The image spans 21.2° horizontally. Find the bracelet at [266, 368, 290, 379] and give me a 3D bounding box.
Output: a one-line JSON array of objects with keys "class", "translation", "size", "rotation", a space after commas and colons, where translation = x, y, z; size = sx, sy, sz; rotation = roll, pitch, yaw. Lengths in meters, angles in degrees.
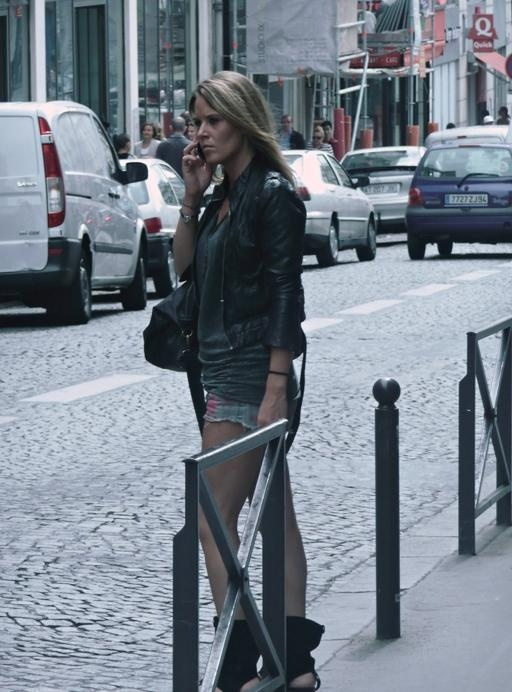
[{"class": "bracelet", "translation": [0.051, 0.060, 3.174], "size": [0.044, 0.021, 0.031], "rotation": [-3, 6, -10]}]

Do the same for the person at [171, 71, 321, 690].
[{"class": "person", "translation": [-0.022, 0.105, 3.167], "size": [0.330, 1.491, 1.155], "rotation": [-2, 6, -2]}]

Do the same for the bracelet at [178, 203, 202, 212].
[{"class": "bracelet", "translation": [-0.179, -0.370, 3.635], "size": [0.047, 0.019, 0.036], "rotation": [-1, 2, 29]}]

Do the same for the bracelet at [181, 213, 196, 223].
[{"class": "bracelet", "translation": [-0.185, -0.334, 3.588], "size": [0.028, 0.020, 0.033], "rotation": [3, -18, 0]}]
